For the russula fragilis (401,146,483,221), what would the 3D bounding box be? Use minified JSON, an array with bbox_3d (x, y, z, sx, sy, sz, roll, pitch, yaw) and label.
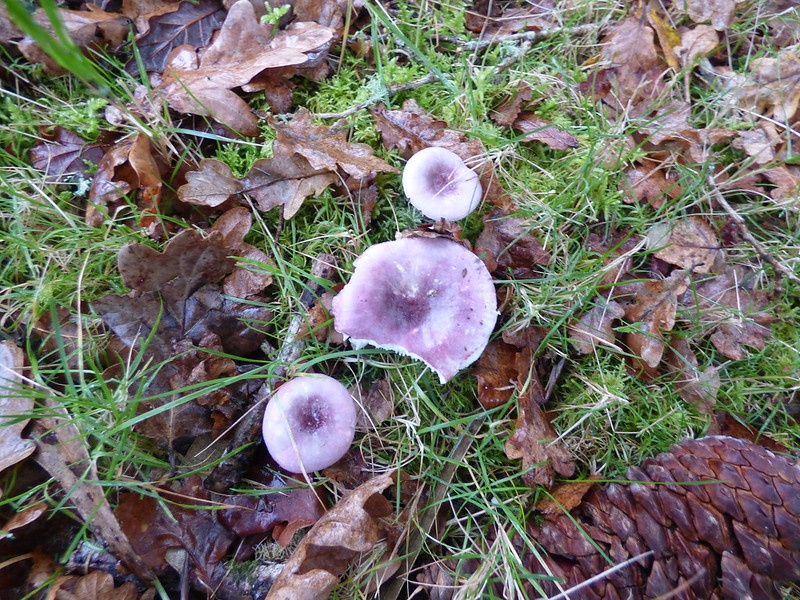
[{"bbox_3d":[0.226,-0.652,3.733,0.441,0.098,0.388,44,84,5],"label":"russula fragilis"}]
